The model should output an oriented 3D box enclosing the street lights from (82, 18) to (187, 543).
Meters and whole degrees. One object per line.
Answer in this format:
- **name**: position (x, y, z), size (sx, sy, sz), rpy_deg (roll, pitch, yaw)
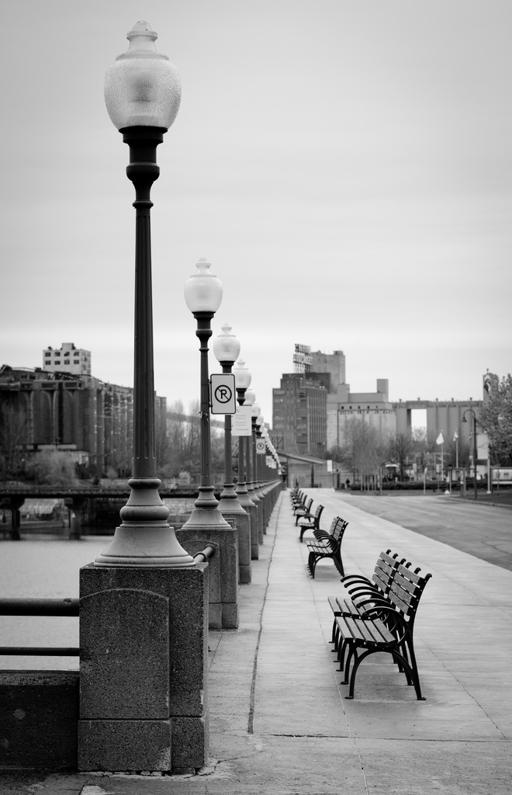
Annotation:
- **street lights**: position (-0.644, -0.606, 7.988), size (0.465, 3.043, 0.387), rpy_deg (-1, -1, -6)
